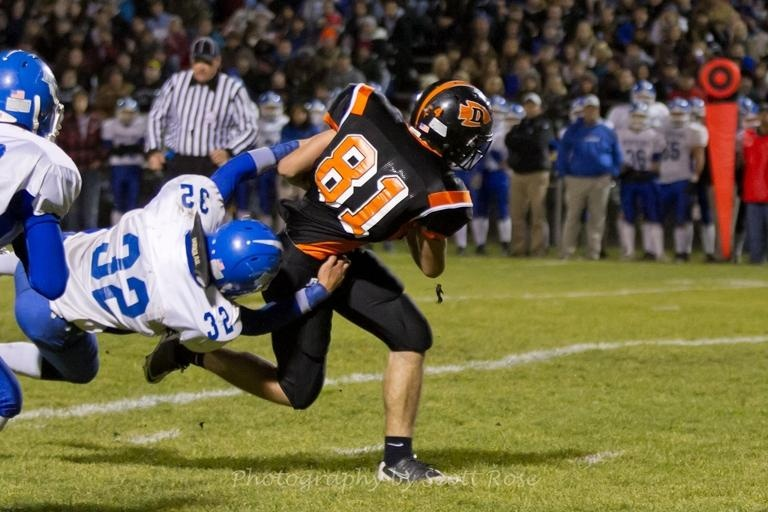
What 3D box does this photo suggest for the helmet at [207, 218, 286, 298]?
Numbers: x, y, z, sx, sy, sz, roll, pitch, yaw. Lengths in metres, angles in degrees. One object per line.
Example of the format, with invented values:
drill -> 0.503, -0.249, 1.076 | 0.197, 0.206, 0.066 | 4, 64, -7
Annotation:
helmet -> -0.582, 0.017, 5.334 | 0.325, 0.263, 0.355 | -11, -9, 16

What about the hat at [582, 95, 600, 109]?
hat -> 1.006, -0.753, 5.744 | 0.081, 0.058, 0.056 | 1, 4, 8

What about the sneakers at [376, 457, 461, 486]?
sneakers -> 0.166, 1.001, 5.499 | 0.395, 0.134, 0.137 | 0, -8, 3

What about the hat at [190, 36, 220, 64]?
hat -> -1.273, -1.487, 8.490 | 0.201, 0.194, 0.209 | 0, 3, -22

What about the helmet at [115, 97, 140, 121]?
helmet -> -2.454, -1.413, 11.344 | 0.204, 0.239, 0.278 | 0, 3, -13
